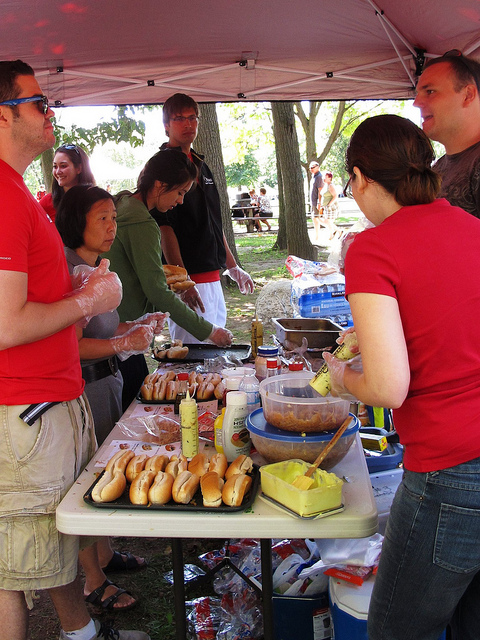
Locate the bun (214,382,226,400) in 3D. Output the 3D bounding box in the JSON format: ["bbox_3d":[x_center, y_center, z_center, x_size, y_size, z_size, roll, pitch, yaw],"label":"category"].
[{"bbox_3d":[-0.096,0.331,2.262,0.036,0.074,0.026,24,-35,-13],"label":"bun"}]

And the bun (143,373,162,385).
[{"bbox_3d":[-0.452,0.307,2.498,0.068,0.029,0.090,3,20,-3],"label":"bun"}]

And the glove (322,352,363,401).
[{"bbox_3d":[0.292,0.173,1.364,0.106,0.128,0.185,-1,11,9],"label":"glove"}]

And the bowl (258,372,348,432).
[{"bbox_3d":[0.182,0.286,1.640,0.307,0.111,0.264,5,3,-35],"label":"bowl"}]

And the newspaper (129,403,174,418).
[{"bbox_3d":[-0.399,0.404,2.189,0.190,0.028,0.213,-5,11,-11],"label":"newspaper"}]

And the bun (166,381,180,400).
[{"bbox_3d":[-0.334,0.335,2.335,0.033,0.067,0.065,-6,38,-20],"label":"bun"}]

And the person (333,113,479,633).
[{"bbox_3d":[0.431,0.177,1.211,0.345,1.350,0.309,-3,11,2],"label":"person"}]

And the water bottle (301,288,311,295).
[{"bbox_3d":[0.752,-0.324,5.477,0.104,0.090,0.024,6,1,14],"label":"water bottle"}]

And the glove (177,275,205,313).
[{"bbox_3d":[-0.351,-0.183,3.621,0.166,0.292,0.072,-22,10,21],"label":"glove"}]

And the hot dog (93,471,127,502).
[{"bbox_3d":[-0.379,0.483,1.413,0.076,0.037,0.139,-3,11,-1],"label":"hot dog"}]

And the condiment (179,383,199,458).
[{"bbox_3d":[-0.181,0.356,1.691,0.068,0.258,0.183,-5,11,-8],"label":"condiment"}]

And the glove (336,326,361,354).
[{"bbox_3d":[0.331,0.063,1.487,0.045,0.030,0.135,-19,10,23],"label":"glove"}]

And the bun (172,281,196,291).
[{"bbox_3d":[-0.406,-0.234,3.374,0.086,0.033,0.085,-15,12,-41],"label":"bun"}]

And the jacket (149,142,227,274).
[{"bbox_3d":[-0.414,-0.905,4.056,0.600,1.050,0.555,-6,17,-23],"label":"jacket"}]

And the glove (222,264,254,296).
[{"bbox_3d":[0.004,-0.352,4.210,0.222,0.239,0.317,-3,11,3],"label":"glove"}]

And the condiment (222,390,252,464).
[{"bbox_3d":[-0.014,0.373,1.658,0.123,0.269,0.082,-6,8,-41],"label":"condiment"}]

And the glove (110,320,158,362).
[{"bbox_3d":[-0.538,0.096,2.342,0.142,0.112,0.211,23,40,-30],"label":"glove"}]

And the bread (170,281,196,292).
[{"bbox_3d":[-0.409,-0.239,3.352,0.112,0.041,0.108,-10,6,-18],"label":"bread"}]

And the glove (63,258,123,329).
[{"bbox_3d":[-0.516,-0.102,1.715,0.181,0.225,0.172,0,17,-11],"label":"glove"}]

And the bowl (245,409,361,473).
[{"bbox_3d":[0.183,0.375,1.506,0.246,0.104,0.248,-1,2,0],"label":"bowl"}]

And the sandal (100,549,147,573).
[{"bbox_3d":[-0.660,1.383,2.741,0.252,0.092,0.089,-2,6,-17],"label":"sandal"}]

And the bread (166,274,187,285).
[{"bbox_3d":[-0.441,-0.283,3.336,0.102,0.034,0.075,8,20,27],"label":"bread"}]

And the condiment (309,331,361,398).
[{"bbox_3d":[0.277,0.134,1.446,0.120,0.199,0.120,-3,14,-24],"label":"condiment"}]

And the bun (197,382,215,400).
[{"bbox_3d":[-0.166,0.331,2.269,0.053,0.039,0.081,-3,24,12],"label":"bun"}]

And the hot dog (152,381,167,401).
[{"bbox_3d":[-0.389,0.343,2.326,0.042,0.026,0.085,4,40,6],"label":"hot dog"}]

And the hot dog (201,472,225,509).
[{"bbox_3d":[-0.073,0.486,1.352,0.049,0.032,0.112,-12,17,4],"label":"hot dog"}]

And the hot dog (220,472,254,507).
[{"bbox_3d":[-0.017,0.477,1.355,0.068,0.047,0.120,0,11,17],"label":"hot dog"}]

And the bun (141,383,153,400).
[{"bbox_3d":[-0.445,0.347,2.325,0.040,0.022,0.077,5,31,-10],"label":"bun"}]

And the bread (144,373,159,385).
[{"bbox_3d":[-0.458,0.306,2.503,0.063,0.032,0.123,-2,10,1],"label":"bread"}]
